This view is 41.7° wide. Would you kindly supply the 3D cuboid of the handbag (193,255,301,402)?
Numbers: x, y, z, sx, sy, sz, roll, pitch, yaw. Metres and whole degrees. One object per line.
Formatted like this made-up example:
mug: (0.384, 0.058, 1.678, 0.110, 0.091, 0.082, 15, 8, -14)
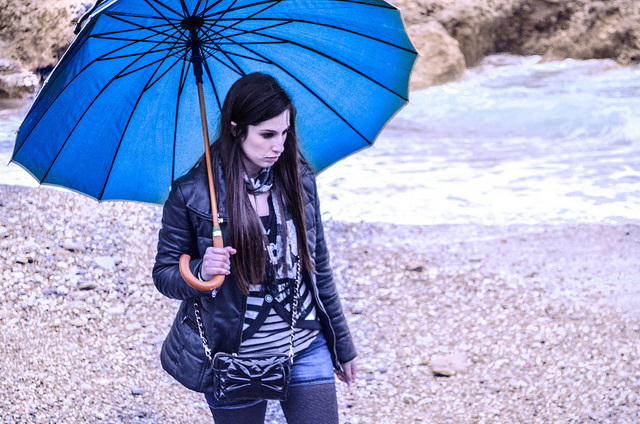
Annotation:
handbag: (-0.550, 0.845, 6.191, 1.082, 1.176, 0.569, -4, 26, -4)
